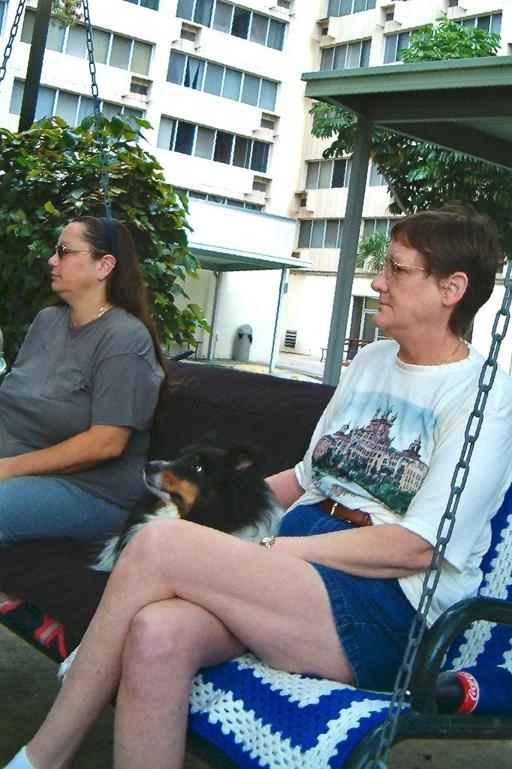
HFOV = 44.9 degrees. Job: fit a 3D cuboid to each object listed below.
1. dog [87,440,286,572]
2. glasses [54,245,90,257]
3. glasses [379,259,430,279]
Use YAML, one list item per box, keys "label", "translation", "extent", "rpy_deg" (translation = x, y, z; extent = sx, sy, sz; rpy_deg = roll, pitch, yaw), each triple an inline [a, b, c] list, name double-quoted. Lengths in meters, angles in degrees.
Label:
- label: "dog"
  translation: [-0.175, 0.354, 1.818]
  extent: [0.536, 0.331, 0.348]
  rpy_deg: [9, -5, -19]
- label: "glasses"
  translation: [-0.687, -0.489, 2.282]
  extent: [0.077, 0.023, 0.069]
  rpy_deg: [3, 1, -17]
- label: "glasses"
  translation: [0.350, -0.259, 1.406]
  extent: [0.068, 0.020, 0.062]
  rpy_deg: [7, 11, -18]
